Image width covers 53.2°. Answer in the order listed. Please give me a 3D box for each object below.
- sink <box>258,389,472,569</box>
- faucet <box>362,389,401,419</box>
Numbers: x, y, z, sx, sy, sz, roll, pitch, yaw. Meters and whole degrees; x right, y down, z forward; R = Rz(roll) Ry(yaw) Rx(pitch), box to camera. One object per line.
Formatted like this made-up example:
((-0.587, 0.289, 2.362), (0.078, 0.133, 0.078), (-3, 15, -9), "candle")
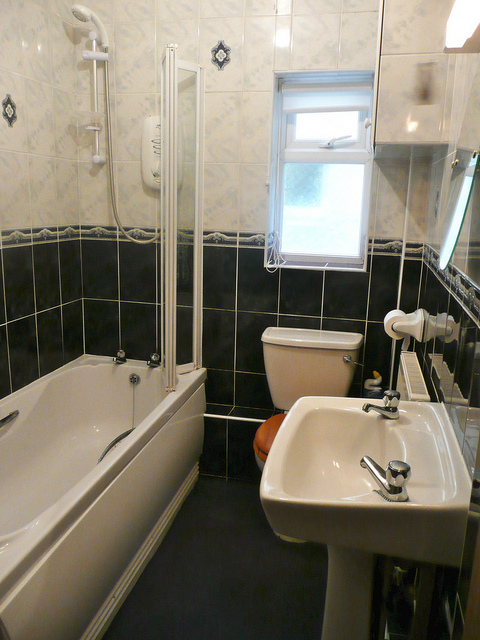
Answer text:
((0.269, 0.288, 1.014), (0.421, 0.217, 0.532), (4, 12, 8), "sink")
((0.349, 0.190, 1.172), (0.084, 0.088, 0.050), (-3, 11, -5), "faucet")
